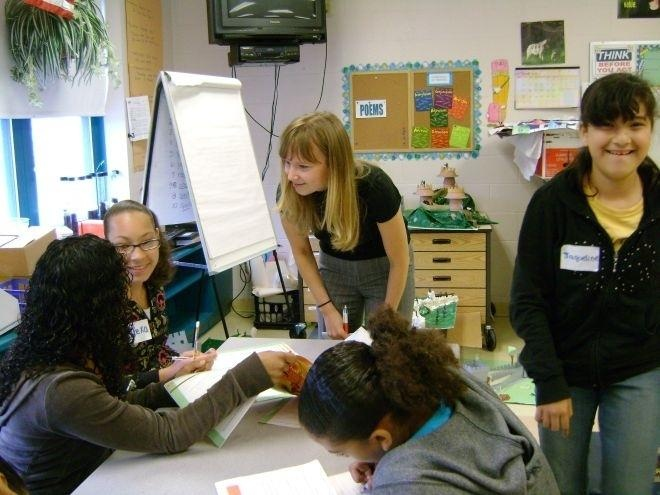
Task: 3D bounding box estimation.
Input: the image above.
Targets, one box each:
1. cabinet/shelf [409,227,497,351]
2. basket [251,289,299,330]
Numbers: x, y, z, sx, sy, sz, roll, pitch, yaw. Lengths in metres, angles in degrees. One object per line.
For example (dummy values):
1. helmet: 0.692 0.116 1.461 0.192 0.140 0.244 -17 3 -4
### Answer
1. cabinet/shelf: 1.029 0.224 4.161 0.668 0.856 0.475 4 22 30
2. basket: -0.463 0.535 4.436 0.510 0.378 0.299 0 5 -1
